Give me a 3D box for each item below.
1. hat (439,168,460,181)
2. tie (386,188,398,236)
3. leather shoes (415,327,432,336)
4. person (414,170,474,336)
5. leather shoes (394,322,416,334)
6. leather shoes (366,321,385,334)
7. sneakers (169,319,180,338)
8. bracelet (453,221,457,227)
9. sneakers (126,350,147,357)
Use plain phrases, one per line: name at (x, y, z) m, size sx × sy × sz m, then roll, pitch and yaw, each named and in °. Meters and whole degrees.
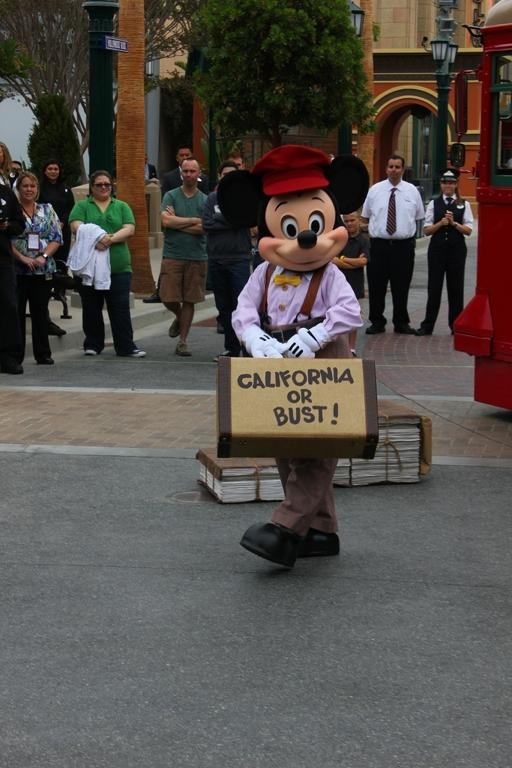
hat at (2.726, -2.947, 11.637) m, size 0.235 × 0.198 × 0.292 m, roll 3°, pitch 6°, yaw 11°
tie at (1.912, -2.428, 11.633) m, size 0.139 × 0.625 × 0.112 m, roll 4°, pitch 6°, yaw 11°
leather shoes at (2.460, -0.770, 12.172) m, size 0.291 × 0.118 × 0.095 m, roll 3°, pitch 30°, yaw -18°
person at (2.730, -1.864, 11.952) m, size 0.682 × 2.342 × 1.089 m, roll 4°, pitch 6°, yaw 13°
leather shoes at (2.245, -0.827, 12.391) m, size 0.363 × 0.235 × 0.121 m, roll -1°, pitch 9°, yaw 15°
leather shoes at (1.782, -0.826, 12.369) m, size 0.358 × 0.145 × 0.128 m, roll -3°, pitch -1°, yaw -44°
sneakers at (-1.119, -0.776, 11.411) m, size 0.118 × 0.124 × 0.319 m, roll 3°, pitch 35°, yaw 0°
bracelet at (2.751, -2.227, 11.444) m, size 0.052 × 0.050 × 0.017 m, roll 5°, pitch 1°, yaw -32°
sneakers at (-1.499, -0.380, 10.312) m, size 0.240 × 0.097 × 0.084 m, roll -1°, pitch 11°, yaw 13°
